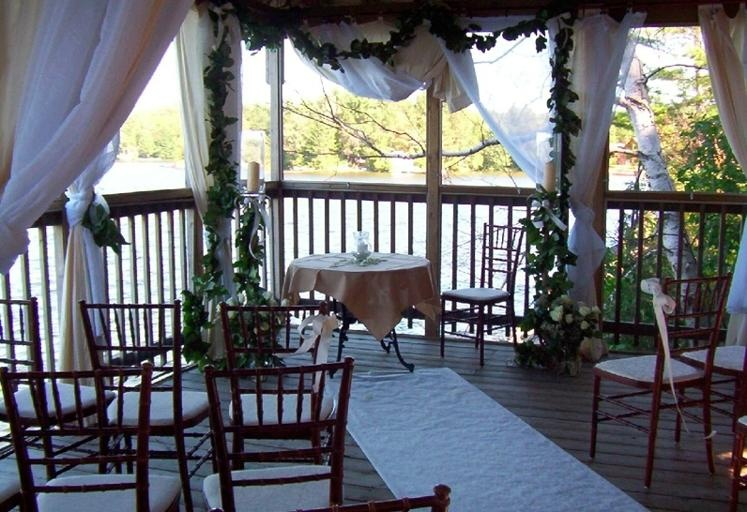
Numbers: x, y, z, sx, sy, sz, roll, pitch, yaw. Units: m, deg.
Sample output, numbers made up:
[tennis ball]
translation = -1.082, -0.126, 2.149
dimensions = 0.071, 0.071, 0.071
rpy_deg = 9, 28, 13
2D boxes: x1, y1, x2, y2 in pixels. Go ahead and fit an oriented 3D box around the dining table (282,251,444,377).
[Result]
[dining table]
translation = -0.068, 0.342, 4.970
dimensions = 0.970, 0.719, 0.991
rpy_deg = 2, 5, 21
